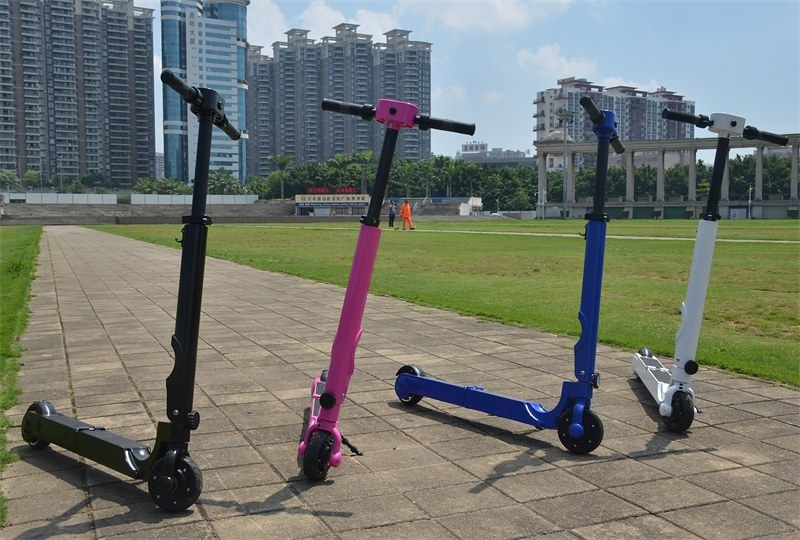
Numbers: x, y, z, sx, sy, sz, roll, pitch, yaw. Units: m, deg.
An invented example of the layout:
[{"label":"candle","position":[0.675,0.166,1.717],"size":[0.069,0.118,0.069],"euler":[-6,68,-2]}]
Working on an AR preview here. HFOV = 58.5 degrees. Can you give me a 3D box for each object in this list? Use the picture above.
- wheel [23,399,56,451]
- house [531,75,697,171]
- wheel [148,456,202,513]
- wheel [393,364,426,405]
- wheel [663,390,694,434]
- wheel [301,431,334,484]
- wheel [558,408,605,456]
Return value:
[{"label":"wheel","position":[-2.964,1.304,5.880],"size":[0.219,0.451,0.392],"euler":[4,-5,-44]},{"label":"house","position":[67.132,-46.055,213.680],"size":[38.367,17.270,13.744],"euler":[1,-4,-6]},{"label":"wheel","position":[-1.609,1.540,5.093],"size":[0.429,0.461,0.250],"euler":[-1,-1,7]},{"label":"wheel","position":[0.092,1.126,6.881],"size":[0.379,0.412,0.181],"euler":[2,0,40]},{"label":"wheel","position":[2.443,1.252,6.274],"size":[0.143,0.285,0.246],"euler":[-3,43,-19]},{"label":"wheel","position":[-0.628,1.448,5.479],"size":[0.159,0.364,0.335],"euler":[14,-3,17]},{"label":"wheel","position":[1.472,1.340,5.854],"size":[0.397,0.382,0.211],"euler":[1,-1,30]}]
